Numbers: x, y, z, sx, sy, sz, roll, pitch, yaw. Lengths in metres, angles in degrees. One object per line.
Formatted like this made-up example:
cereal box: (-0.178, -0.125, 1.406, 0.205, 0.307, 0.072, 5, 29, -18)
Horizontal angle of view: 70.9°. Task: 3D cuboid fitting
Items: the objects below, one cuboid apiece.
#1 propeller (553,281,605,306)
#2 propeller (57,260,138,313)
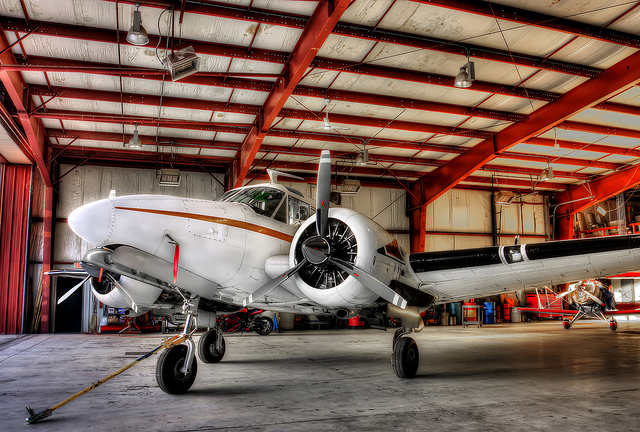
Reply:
propeller: (13.370, 3.918, 22.570, 1.484, 1.168, 0.581, -3, -9, 23)
propeller: (-5.744, 1.874, 11.683, 1.805, 1.304, 3.312, 4, -8, -28)
